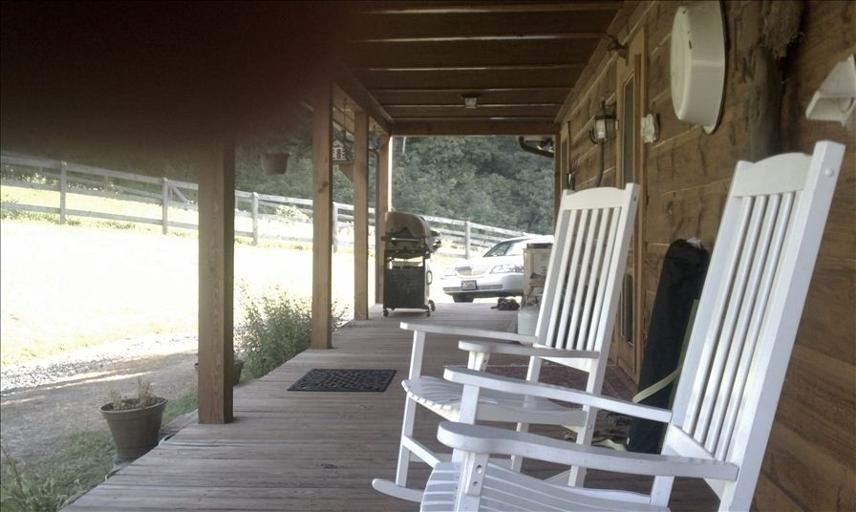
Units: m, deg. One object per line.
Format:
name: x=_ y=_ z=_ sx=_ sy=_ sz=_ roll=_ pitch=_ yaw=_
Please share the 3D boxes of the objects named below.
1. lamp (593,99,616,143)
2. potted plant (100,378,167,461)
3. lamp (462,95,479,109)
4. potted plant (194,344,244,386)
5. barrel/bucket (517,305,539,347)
lamp: x=1.507 y=-1.169 z=6.084 sx=0.178 sy=0.307 sz=0.287 roll=2 pitch=9 yaw=12
potted plant: x=-1.671 y=0.965 z=4.216 sx=0.435 sy=0.382 sz=0.426 roll=-2 pitch=-21 yaw=16
lamp: x=0.466 y=-1.709 z=7.870 sx=0.109 sy=0.133 sz=0.200 roll=2 pitch=0 yaw=7
potted plant: x=-1.437 y=0.835 z=5.292 sx=0.415 sy=0.312 sz=0.392 roll=-1 pitch=-2 yaw=36
barrel/bucket: x=0.905 y=0.605 z=6.403 sx=0.242 sy=0.301 sz=0.451 roll=-1 pitch=-1 yaw=9
